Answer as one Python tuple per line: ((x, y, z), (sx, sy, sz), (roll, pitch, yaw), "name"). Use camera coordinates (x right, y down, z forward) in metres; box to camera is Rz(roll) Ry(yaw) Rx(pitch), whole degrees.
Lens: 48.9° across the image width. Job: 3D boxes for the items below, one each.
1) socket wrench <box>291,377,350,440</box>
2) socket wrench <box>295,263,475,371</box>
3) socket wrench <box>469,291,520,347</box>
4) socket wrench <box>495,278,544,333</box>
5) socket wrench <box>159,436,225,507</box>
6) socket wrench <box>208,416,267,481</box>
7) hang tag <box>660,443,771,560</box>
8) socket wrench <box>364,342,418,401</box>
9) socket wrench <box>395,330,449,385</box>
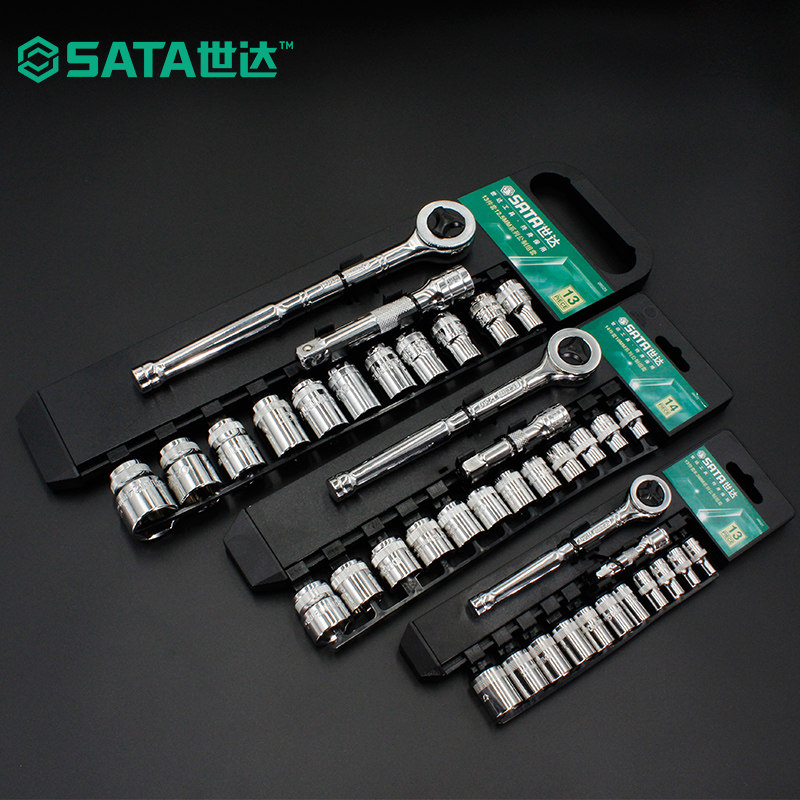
((-0.413, 0.058, 4.580), (0.203, 0.340, 0.132), (-31, -23, -18), "socket wrench")
((-0.104, -0.447, 4.796), (0.877, 0.176, 0.176), (-31, -10, -23), "socket wrench")
((0.522, -0.448, 4.918), (0.163, 0.365, 0.153), (-32, -14, -14), "socket wrench")
((0.728, -0.559, 4.921), (0.156, 0.147, 0.350), (0, -57, 2), "socket wrench")
((-1.036, 0.366, 4.364), (0.174, 0.269, 0.180), (-32, -27, -5), "socket wrench")
((-0.834, 0.257, 4.466), (0.186, 0.309, 0.183), (-35, -17, 9), "socket wrench")
((1.623, 0.515, 4.588), (0.338, 0.529, 0.070), (-31, -20, -28), "hang tag")
((-0.040, -0.161, 4.661), (0.197, 0.316, 0.123), (-29, -20, -17), "socket wrench")
((0.117, -0.243, 4.787), (0.186, 0.327, 0.140), (-26, -26, -22), "socket wrench")
